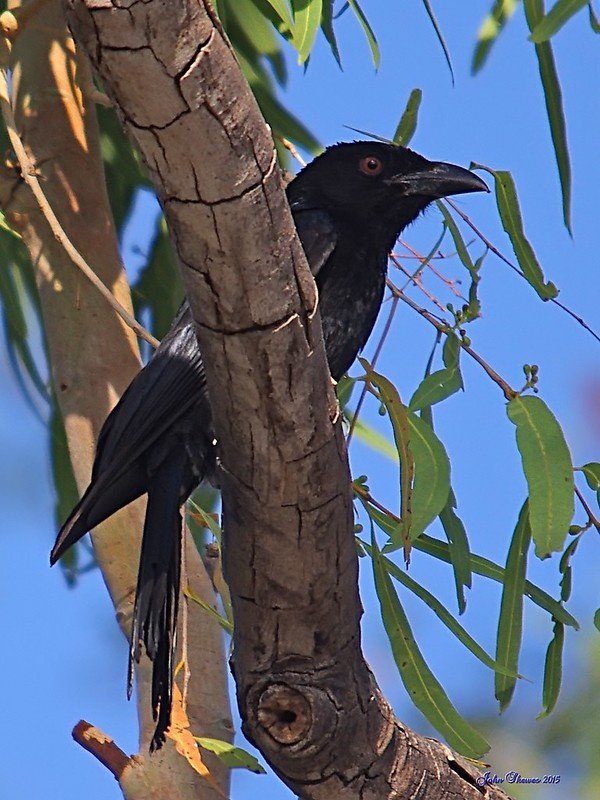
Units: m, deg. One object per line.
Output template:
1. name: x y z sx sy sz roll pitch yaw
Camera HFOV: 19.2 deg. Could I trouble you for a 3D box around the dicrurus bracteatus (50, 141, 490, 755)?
1. dicrurus bracteatus: -0.176 0.054 5.085 1.040 0.491 1.892 0 -57 -7
